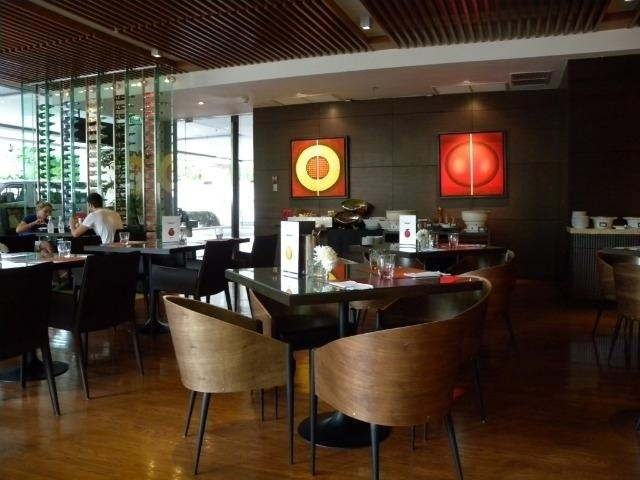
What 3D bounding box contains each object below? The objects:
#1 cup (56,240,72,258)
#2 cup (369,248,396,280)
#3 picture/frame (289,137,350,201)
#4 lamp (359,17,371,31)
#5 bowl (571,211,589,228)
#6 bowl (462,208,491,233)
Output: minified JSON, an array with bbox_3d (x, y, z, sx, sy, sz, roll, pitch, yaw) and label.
[{"bbox_3d":[-2.422,0.088,4.704,0.149,0.164,0.149,0,2,0],"label":"cup"},{"bbox_3d":[0.380,0.162,3.261,0.169,0.195,0.182,0,-3,0],"label":"cup"},{"bbox_3d":[0.034,-1.384,9.784,1.269,1.202,0.134,1,1,25],"label":"picture/frame"},{"bbox_3d":[0.634,-2.994,7.017,0.122,0.124,0.124,-1,-2,1],"label":"lamp"},{"bbox_3d":[3.545,-0.273,6.924,0.233,0.233,0.230,1,-3,0],"label":"bowl"},{"bbox_3d":[2.433,-0.301,7.861,0.358,0.266,0.362,0,4,0],"label":"bowl"}]
